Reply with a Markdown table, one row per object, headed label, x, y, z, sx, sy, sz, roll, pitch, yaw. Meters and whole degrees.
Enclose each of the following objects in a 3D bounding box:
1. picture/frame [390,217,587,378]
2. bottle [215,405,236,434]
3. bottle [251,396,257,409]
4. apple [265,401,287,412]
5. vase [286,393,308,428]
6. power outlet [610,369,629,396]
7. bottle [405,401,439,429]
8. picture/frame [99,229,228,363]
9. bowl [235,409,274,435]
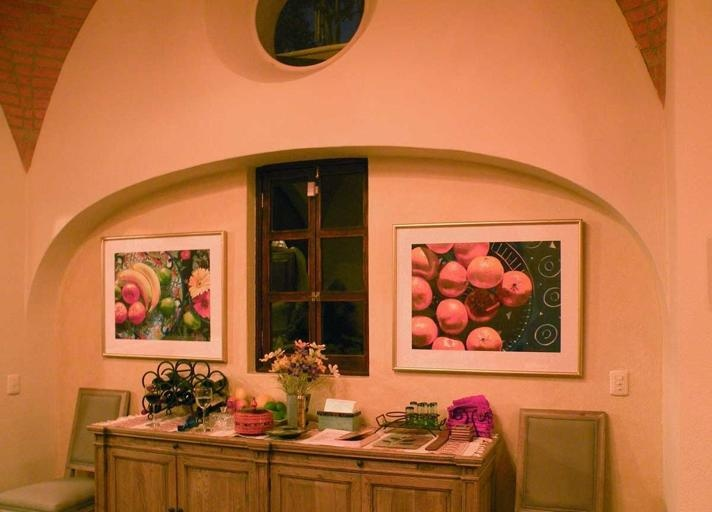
| label | x | y | z | sx | sy | sz | roll | pitch | yaw |
| --- | --- | --- | --- | --- | --- | --- | --- | --- | --- |
| picture/frame | 0.996 | 0.300 | 4.740 | 1.009 | 0.921 | 0.040 | 1 | 2 | 17 |
| bottle | -0.942 | 1.197 | 4.842 | 0.136 | 0.066 | 0.107 | -2 | 11 | -26 |
| bottle | -0.761 | 1.093 | 5.057 | 0.051 | 0.080 | 0.051 | -1 | 5 | 0 |
| apple | -0.583 | 1.100 | 4.949 | 0.082 | 0.092 | 0.086 | -8 | -18 | -41 |
| vase | -0.433 | 1.123 | 4.924 | 0.169 | 0.233 | 0.137 | 1 | -1 | -4 |
| power outlet | 1.779 | 0.848 | 4.528 | 0.156 | 0.248 | 0.030 | -1 | -5 | 22 |
| bottle | 0.468 | 1.115 | 4.763 | 0.186 | 0.158 | 0.196 | -1 | -2 | 15 |
| picture/frame | -1.513 | 0.330 | 5.430 | 0.975 | 0.945 | 0.037 | -1 | -2 | 18 |
| bowl | -0.713 | 1.151 | 4.727 | 0.173 | 0.125 | 0.185 | 0 | -4 | 0 |
